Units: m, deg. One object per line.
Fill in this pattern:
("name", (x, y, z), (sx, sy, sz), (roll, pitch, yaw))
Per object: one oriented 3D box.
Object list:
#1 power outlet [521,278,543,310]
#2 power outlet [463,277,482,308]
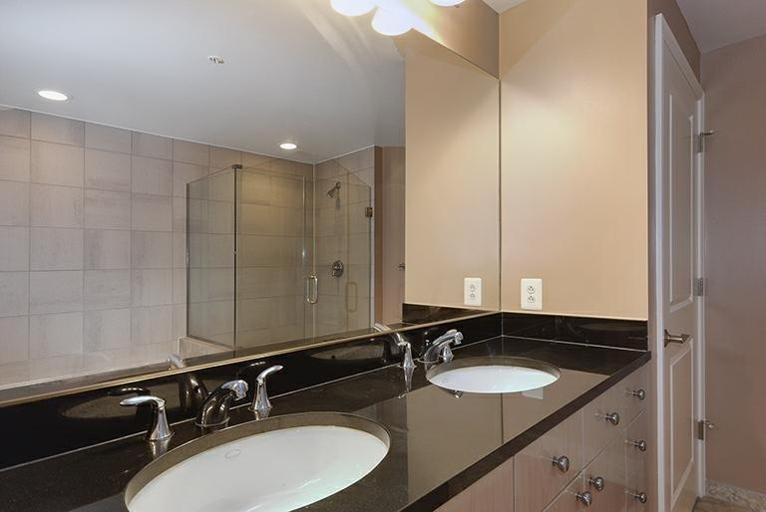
("power outlet", (0.746, 0.187, 2.525), (0.023, 0.209, 0.152), (0, 2, -45))
("power outlet", (0.444, 0.187, 2.542), (0.139, 0.189, 0.020), (6, -12, -32))
